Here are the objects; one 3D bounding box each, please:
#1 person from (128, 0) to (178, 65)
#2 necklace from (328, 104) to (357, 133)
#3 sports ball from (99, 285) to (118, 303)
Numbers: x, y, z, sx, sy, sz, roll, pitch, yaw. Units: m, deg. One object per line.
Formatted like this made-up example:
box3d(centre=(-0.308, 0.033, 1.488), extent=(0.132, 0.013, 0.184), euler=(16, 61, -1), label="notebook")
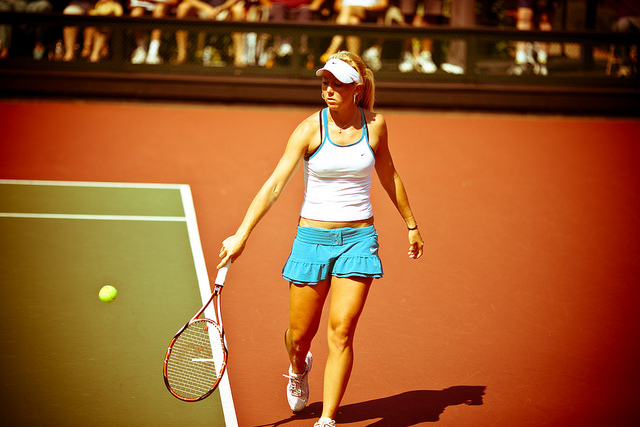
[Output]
box3d(centre=(-3.259, -3.549, 12.081), extent=(0.779, 1.461, 1.175), euler=(4, 3, -15), label="person")
box3d(centre=(0.225, -0.958, 6.311), extent=(0.299, 0.288, 0.130), euler=(5, 3, -5), label="necklace")
box3d(centre=(-2.688, 1.033, 7.968), extent=(0.212, 0.204, 0.145), euler=(4, 3, -19), label="sports ball")
